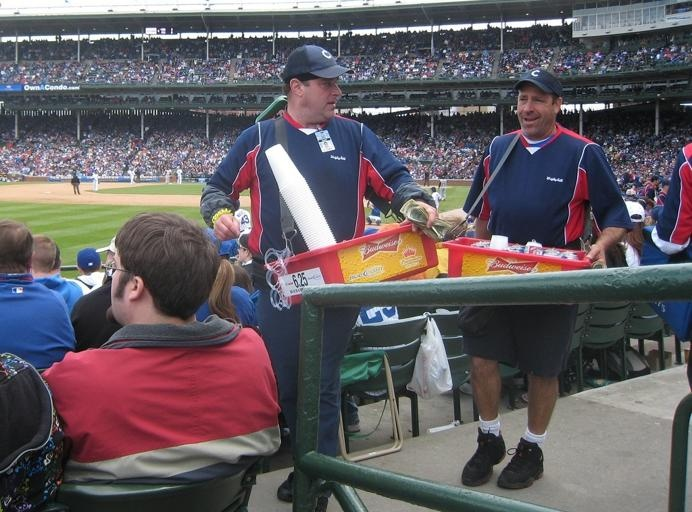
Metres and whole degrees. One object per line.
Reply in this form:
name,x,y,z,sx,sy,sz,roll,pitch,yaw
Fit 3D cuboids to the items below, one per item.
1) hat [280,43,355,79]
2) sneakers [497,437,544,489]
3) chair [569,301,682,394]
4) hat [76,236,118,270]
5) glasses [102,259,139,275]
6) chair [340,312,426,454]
hat,-0.161,-1.026,4.133,0.380,0.220,0.279,9,19,30
sneakers,0.931,1.106,4.089,0.128,0.189,0.375,-4,-4,37
chair,2.051,0.691,5.794,0.285,0.460,0.876,2,5,43
hat,-2.766,-0.047,8.513,0.338,0.302,0.567,-11,23,-32
glasses,-0.965,0.046,3.317,0.097,0.030,0.096,16,-2,0
chair,0.186,0.831,4.897,0.664,0.859,0.602,-1,-23,17
